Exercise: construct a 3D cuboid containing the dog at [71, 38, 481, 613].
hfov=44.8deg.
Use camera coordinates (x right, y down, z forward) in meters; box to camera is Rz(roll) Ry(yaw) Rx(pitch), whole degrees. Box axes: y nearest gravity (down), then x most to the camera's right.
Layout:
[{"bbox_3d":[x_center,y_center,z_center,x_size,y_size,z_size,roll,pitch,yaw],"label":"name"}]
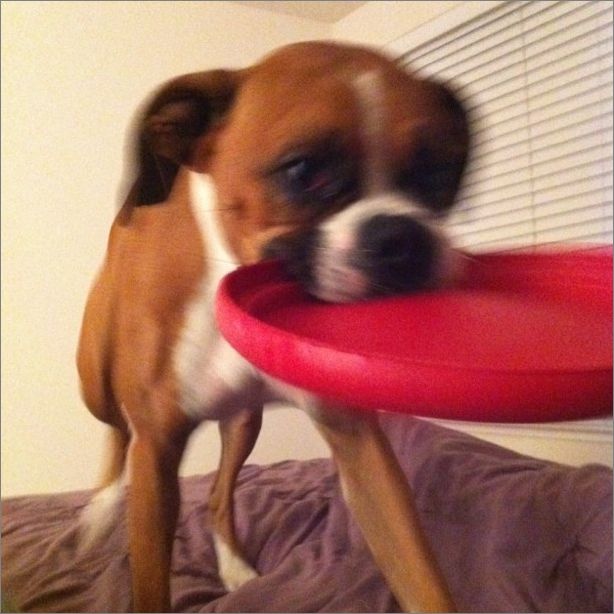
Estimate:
[{"bbox_3d":[0.006,0.128,1.651,0.546,1.183,0.873,3,58,-33],"label":"dog"}]
